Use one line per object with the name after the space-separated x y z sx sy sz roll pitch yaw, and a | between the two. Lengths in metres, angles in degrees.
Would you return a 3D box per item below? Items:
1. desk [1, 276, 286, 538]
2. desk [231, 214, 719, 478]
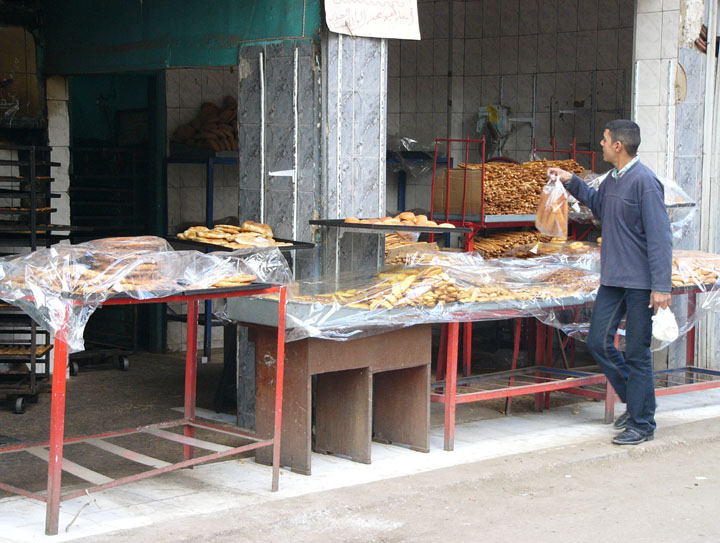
-1.658 0.724 6.329 1.410 1.406 1.906 13 10 41 | desk
0.741 0.462 7.110 3.252 1.614 0.947 -3 8 -26 | desk
